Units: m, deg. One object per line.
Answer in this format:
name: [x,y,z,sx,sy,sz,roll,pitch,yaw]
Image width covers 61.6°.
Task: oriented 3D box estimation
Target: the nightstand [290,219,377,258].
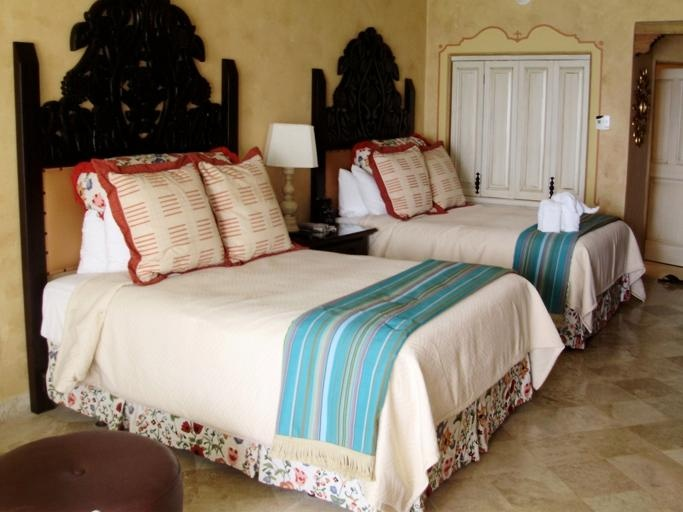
nightstand: [-0.095,-0.155,4.744,0.389,0.272,0.399,10,17,40]
